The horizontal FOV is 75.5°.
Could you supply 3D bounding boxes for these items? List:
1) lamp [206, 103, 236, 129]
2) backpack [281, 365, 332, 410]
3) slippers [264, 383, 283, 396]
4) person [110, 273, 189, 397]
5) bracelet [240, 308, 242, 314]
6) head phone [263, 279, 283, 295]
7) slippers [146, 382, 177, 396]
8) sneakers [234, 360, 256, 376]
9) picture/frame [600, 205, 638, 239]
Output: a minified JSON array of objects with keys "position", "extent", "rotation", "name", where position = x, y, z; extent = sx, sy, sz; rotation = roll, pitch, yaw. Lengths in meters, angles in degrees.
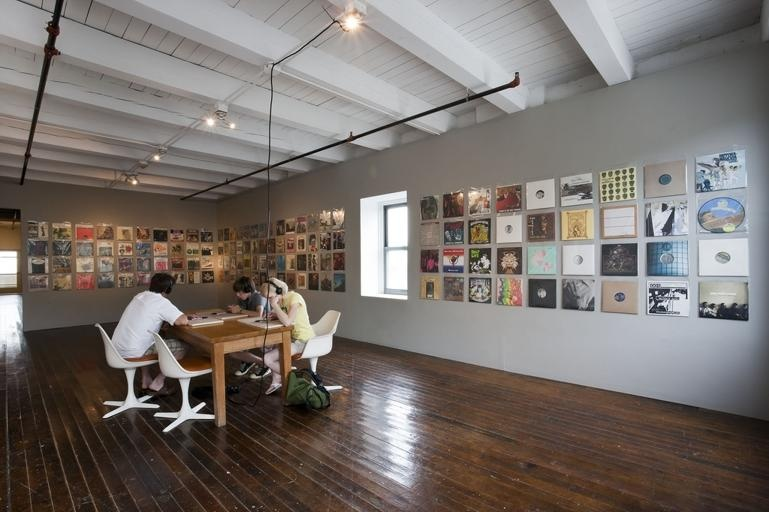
[{"position":[-2.643,-2.182,7.782],"extent":[0.337,0.151,0.462],"rotation":[1,-2,-33],"name":"lamp"},{"position":[-1.060,1.824,6.756],"extent":[0.528,0.553,0.434],"rotation":[1,-11,5],"name":"backpack"},{"position":[-1.605,1.905,7.212],"extent":[0.127,0.113,0.330],"rotation":[-26,-9,23],"name":"slippers"},{"position":[-3.258,1.117,7.095],"extent":[0.953,1.754,1.175],"rotation":[7,10,32],"name":"person"},{"position":[-2.222,0.855,7.644],"extent":[0.024,0.100,0.028],"rotation":[-11,-8,31],"name":"bracelet"},{"position":[-1.542,0.423,6.869],"extent":[0.185,0.139,0.236],"rotation":[3,-11,-1],"name":"head phone"},{"position":[-3.207,1.902,7.096],"extent":[0.168,0.130,0.320],"rotation":[2,-2,43],"name":"slippers"},{"position":[-2.180,1.817,8.066],"extent":[0.204,0.284,0.634],"rotation":[-3,-9,15],"name":"sneakers"},{"position":[3.295,-0.484,6.922],"extent":[0.439,0.480,0.046],"rotation":[2,-6,31],"name":"picture/frame"}]
